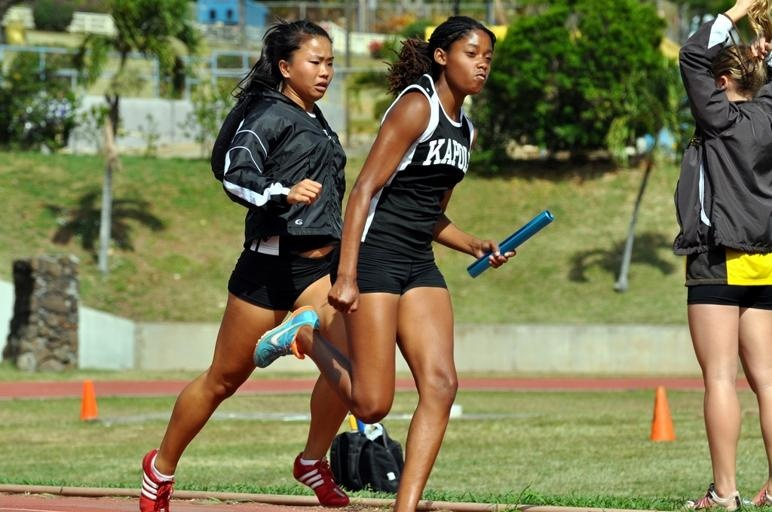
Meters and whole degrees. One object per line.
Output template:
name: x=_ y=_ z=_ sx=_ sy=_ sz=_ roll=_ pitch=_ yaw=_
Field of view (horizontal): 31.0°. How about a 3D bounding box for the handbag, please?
handbag: x=-0.179 y=1.755 z=11.897 sx=0.736 sy=0.639 sz=0.421 roll=3 pitch=4 yaw=38
